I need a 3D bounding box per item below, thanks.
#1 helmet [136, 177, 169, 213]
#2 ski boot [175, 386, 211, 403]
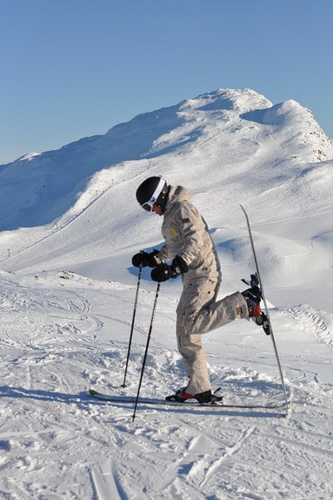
[{"bbox_3d":[-0.153,-0.616,6.178,0.349,0.366,0.179,4,1,-4],"label":"helmet"},{"bbox_3d":[0.294,1.591,6.195,0.469,0.187,0.155,2,-11,9],"label":"ski boot"}]
